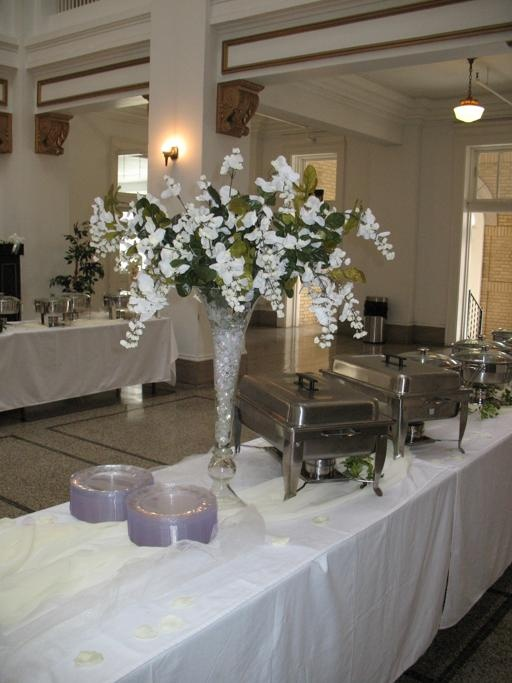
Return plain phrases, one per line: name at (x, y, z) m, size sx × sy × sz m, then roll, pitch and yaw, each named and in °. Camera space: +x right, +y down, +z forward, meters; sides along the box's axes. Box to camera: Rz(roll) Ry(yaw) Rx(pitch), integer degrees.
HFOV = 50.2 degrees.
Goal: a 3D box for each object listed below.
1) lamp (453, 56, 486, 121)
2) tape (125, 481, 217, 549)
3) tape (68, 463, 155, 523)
lamp at (2.817, -3.319, 7.186) m, size 0.471 × 0.776 × 0.455 m, roll 3°, pitch -1°, yaw -14°
tape at (-0.154, 0.316, 1.053) m, size 0.235 × 0.067 × 0.183 m, roll 1°, pitch 4°, yaw -1°
tape at (-0.322, 0.305, 1.224) m, size 0.178 × 0.103 × 0.160 m, roll 7°, pitch 11°, yaw 42°
